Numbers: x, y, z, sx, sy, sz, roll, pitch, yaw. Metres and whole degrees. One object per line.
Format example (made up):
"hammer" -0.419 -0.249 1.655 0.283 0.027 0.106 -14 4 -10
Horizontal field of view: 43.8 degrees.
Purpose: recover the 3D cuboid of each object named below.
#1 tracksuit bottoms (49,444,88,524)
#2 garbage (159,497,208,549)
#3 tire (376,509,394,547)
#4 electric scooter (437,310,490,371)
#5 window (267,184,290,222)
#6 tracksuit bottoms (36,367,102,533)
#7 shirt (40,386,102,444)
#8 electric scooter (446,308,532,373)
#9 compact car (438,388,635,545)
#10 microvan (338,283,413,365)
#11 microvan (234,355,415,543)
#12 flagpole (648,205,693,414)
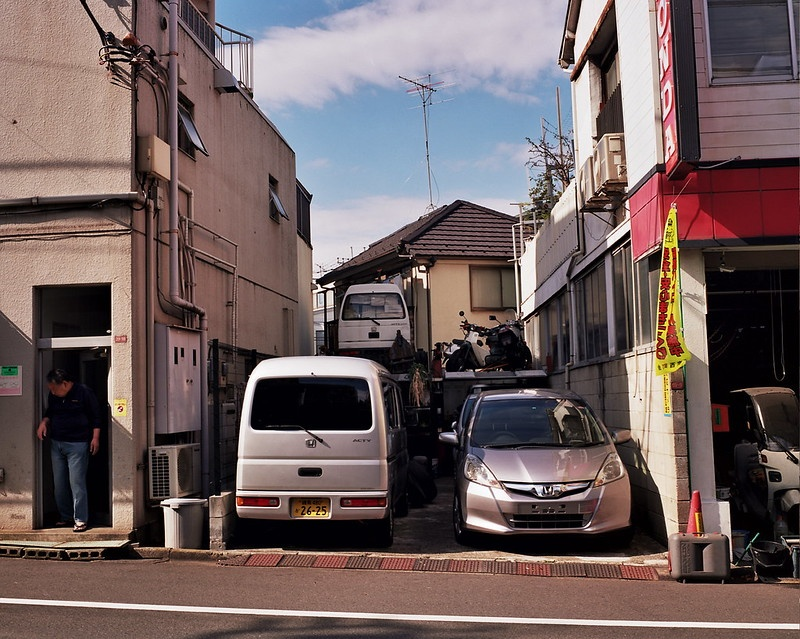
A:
"tracksuit bottoms" -4.458 2.208 13.502 0.540 1.166 0.337 0 1 17
"garbage" -2.863 2.684 13.205 0.592 0.588 0.597 0 -8 2
"tire" -0.210 2.763 13.165 0.203 0.603 0.564 1 -1 10
"electric scooter" 1.825 0.668 24.818 0.956 1.465 2.035 12 -5 25
"window" -2.645 -2.467 21.202 0.188 0.571 0.849 -8 -10 14
"tracksuit bottoms" -4.519 1.757 13.455 0.733 2.202 0.616 0 3 16
"shirt" -4.482 1.273 13.563 0.881 0.886 0.500 2 1 11
"electric scooter" 2.235 0.617 24.028 2.275 1.543 1.187 -8 2 33
"compact car" 1.913 2.055 13.337 2.349 1.929 2.102 1 2 30
"microvan" -0.751 0.571 26.642 1.931 2.354 3.634 -2 -12 -1
"microvan" -1.023 1.652 15.030 2.150 2.563 4.469 0 1 1
"flagpole" 3.468 -0.105 12.655 0.448 2.722 0.557 0 1 16
